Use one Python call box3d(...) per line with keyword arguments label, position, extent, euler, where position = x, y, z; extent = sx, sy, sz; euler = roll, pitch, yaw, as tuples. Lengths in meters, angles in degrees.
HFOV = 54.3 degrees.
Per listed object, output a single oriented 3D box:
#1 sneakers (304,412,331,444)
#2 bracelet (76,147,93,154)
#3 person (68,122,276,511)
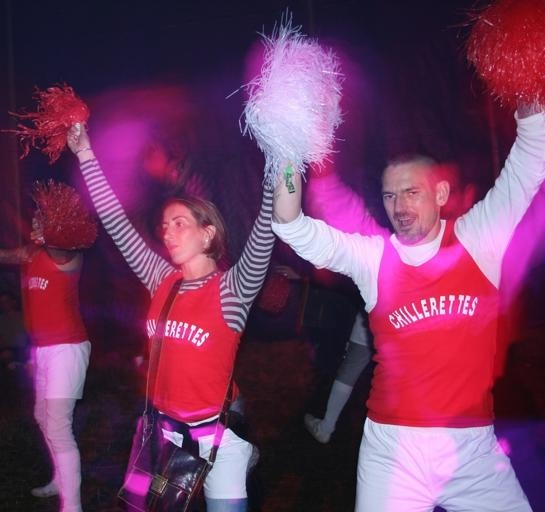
box3d(label="sneakers", position=(0.329, 1.323, 4.069), extent=(0.112, 0.265, 0.337), euler=(-18, -1, -11))
box3d(label="bracelet", position=(-1.015, -0.563, 2.838), extent=(0.037, 0.023, 0.028), euler=(28, 42, 24))
box3d(label="person", position=(-0.427, 0.191, 2.618), extent=(0.580, 1.225, 1.089), euler=(-12, 17, -30))
